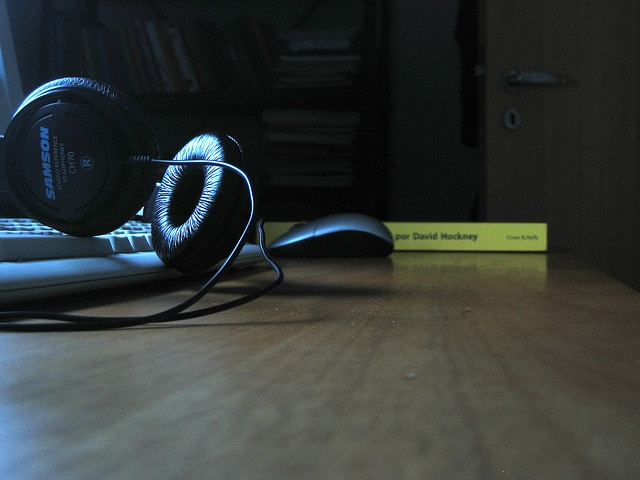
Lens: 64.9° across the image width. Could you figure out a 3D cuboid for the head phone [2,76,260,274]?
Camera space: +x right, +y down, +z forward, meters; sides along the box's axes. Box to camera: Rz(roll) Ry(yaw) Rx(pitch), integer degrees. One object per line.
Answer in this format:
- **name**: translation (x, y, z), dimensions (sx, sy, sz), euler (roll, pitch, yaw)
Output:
- **head phone**: translation (-0.166, -0.052, 0.449), dimensions (0.202, 0.171, 0.102), euler (-2, 10, -10)
